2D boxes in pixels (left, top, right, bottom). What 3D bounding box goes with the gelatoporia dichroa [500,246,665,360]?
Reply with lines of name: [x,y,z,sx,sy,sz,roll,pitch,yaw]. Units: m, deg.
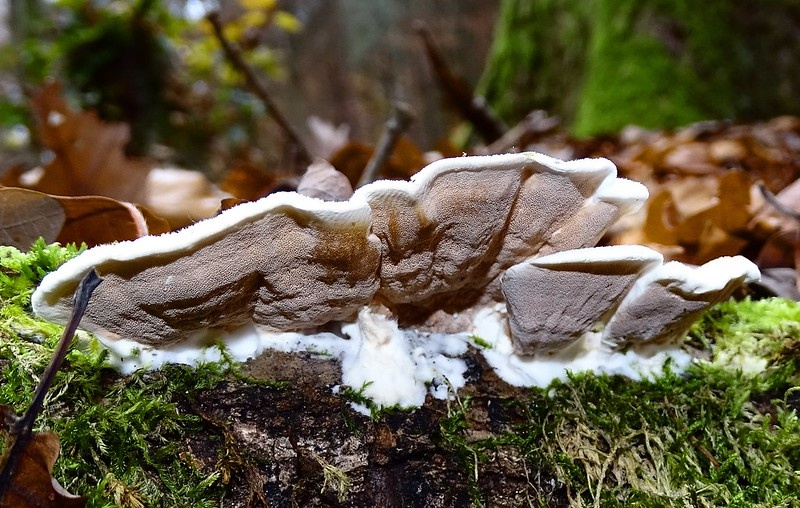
gelatoporia dichroa: [0.758,0.144,3.659,0.473,0.535,0.126,45,14,-21]
